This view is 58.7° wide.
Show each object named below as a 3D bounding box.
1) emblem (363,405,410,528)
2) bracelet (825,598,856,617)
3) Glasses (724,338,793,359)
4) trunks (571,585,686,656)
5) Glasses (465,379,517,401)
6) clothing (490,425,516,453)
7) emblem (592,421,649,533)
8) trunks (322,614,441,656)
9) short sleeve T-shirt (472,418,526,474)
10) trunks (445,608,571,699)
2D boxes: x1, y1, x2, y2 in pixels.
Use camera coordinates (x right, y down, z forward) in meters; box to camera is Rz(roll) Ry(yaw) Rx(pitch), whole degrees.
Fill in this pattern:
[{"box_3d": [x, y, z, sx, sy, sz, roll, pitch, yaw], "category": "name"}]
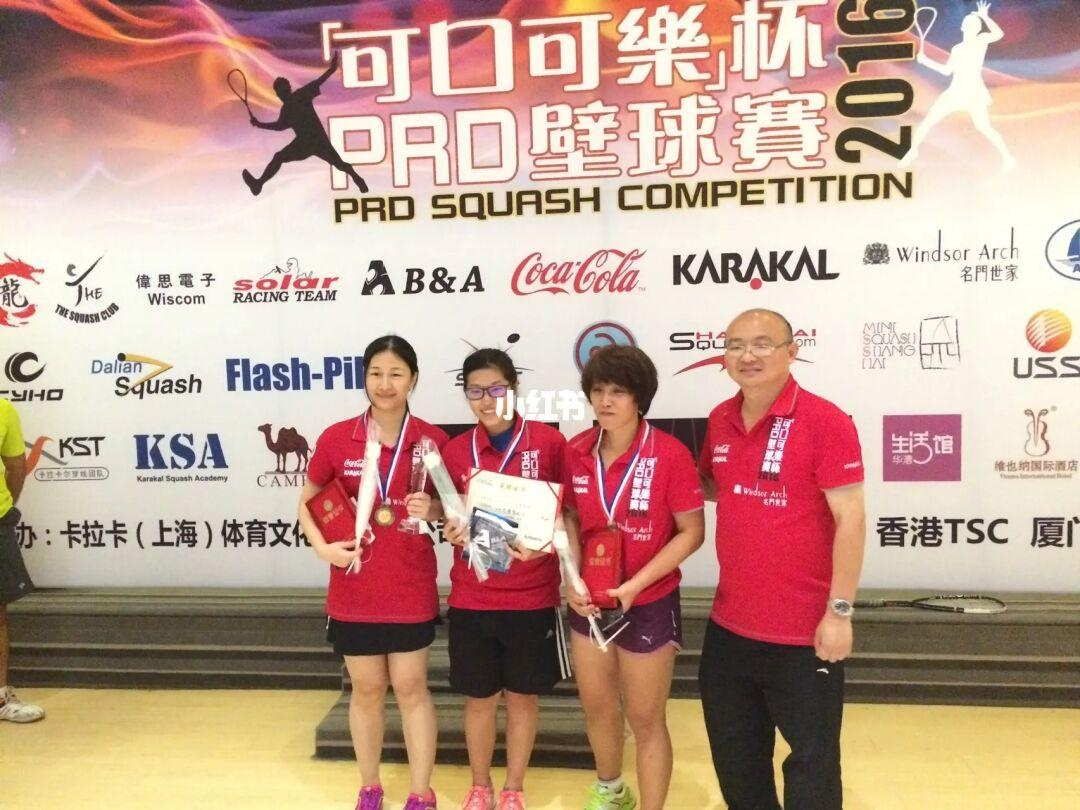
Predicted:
[{"box_3d": [-0.614, 0.269, 4.054, 0.173, 0.475, 0.084, 0, 0, -39], "category": "emblem"}, {"box_3d": [1.126, 0.740, 3.587, 0.081, 0.059, 0.079, 12, 0, 20], "category": "bracelet"}, {"box_3d": [0.839, -0.214, 3.675, 0.245, 0.064, 0.094, 0, 0, 10], "category": "Glasses"}, {"box_3d": [0.389, 0.863, 3.975, 0.319, 0.246, 0.274, -16, -5, -5], "category": "trunks"}, {"box_3d": [-0.211, -0.051, 3.975, 0.203, 0.068, 0.066, 0, 0, -6], "category": "Glasses"}, {"box_3d": [-0.160, 0.143, 4.098, 0.087, 0.065, 0.121, -20, 2, 3], "category": "clothing"}, {"box_3d": [0.309, 0.285, 3.870, 0.211, 0.406, 0.091, 4, -9, 12], "category": "emblem"}, {"box_3d": [-0.675, 0.969, 4.077, 0.360, 0.115, 0.371, -1, 4, 6], "category": "trunks"}, {"box_3d": [-0.164, 0.182, 4.030, 0.169, 0.251, 0.065, 0, -8, 10], "category": "short sleeve T-shirt"}, {"box_3d": [-0.147, 1.035, 4.184, 0.523, 0.405, 0.303, -3, 0, 9], "category": "trunks"}]
